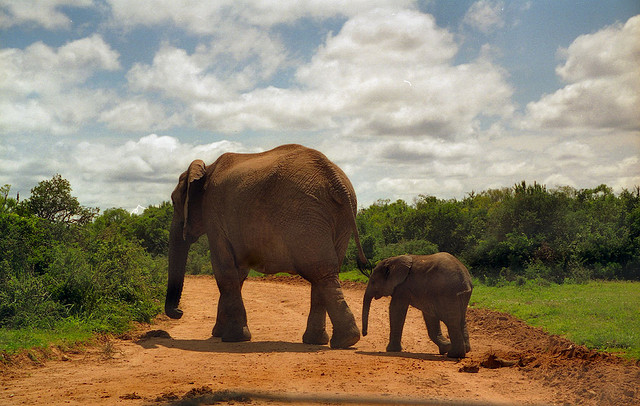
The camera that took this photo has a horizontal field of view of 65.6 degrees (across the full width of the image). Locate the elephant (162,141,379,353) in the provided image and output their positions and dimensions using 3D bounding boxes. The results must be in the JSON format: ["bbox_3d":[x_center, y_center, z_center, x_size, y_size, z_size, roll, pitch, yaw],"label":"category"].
[{"bbox_3d":[-1.961,1.367,16.389,7.793,6.351,3.865,-4,-5,30],"label":"elephant"}]
